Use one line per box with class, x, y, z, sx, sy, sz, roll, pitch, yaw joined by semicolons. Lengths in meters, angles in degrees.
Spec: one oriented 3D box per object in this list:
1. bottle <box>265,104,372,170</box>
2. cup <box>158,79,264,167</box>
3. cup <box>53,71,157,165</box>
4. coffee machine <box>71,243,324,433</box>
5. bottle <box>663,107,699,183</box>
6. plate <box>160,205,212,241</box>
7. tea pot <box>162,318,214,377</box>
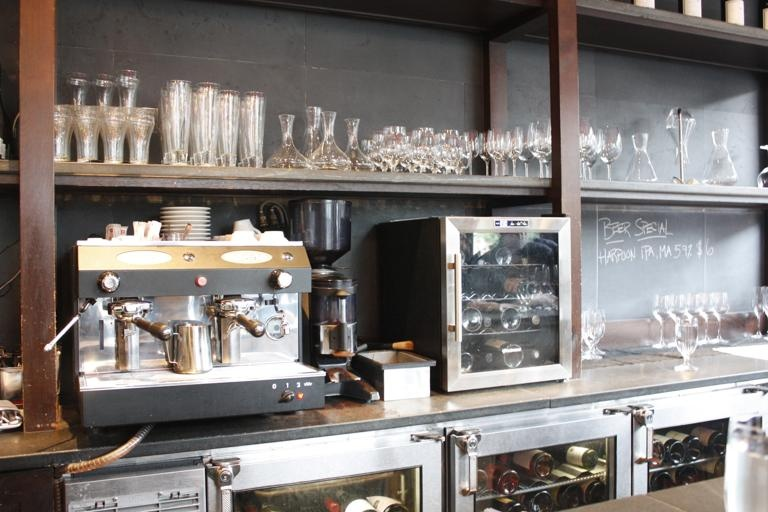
bottle;-0.330;-0.566;3.597;0.615;0.359;0.248;1;-1;-2
cup;-0.790;-0.613;3.438;0.474;0.386;0.279;-3;9;-19
cup;-1.260;-0.633;3.374;0.433;0.415;0.440;0;8;0
coffee machine;-0.854;0.299;3.265;1.016;0.752;0.577;0;4;-34
bottle;1.789;-0.665;4.428;0.221;0.476;0.203;12;-31;7
plate;-0.914;-0.134;3.429;0.176;0.114;0.176;0;-5;-6
tea pot;-0.850;0.393;3.134;0.153;0.209;0.236;6;6;43
